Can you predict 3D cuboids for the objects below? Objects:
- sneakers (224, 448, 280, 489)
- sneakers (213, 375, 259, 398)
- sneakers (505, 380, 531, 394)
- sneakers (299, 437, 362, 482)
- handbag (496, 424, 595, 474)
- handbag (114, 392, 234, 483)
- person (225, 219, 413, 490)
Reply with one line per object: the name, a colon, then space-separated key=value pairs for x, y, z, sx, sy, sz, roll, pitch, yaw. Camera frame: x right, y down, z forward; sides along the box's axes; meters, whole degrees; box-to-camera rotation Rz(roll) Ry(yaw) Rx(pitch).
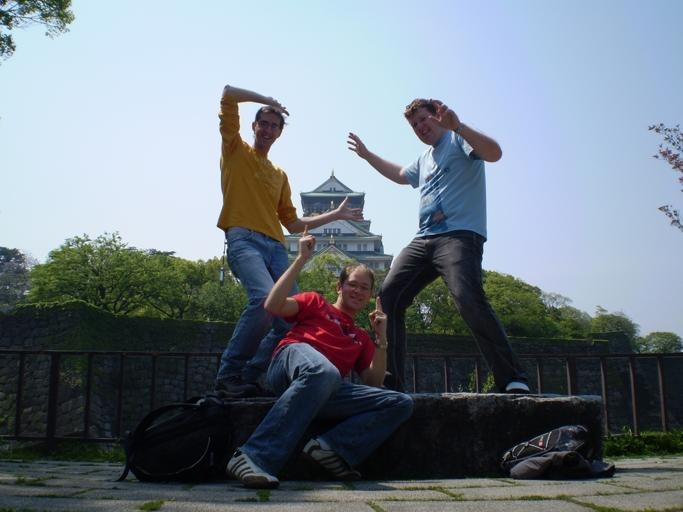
sneakers: x=-0.565 y=1.342 z=3.776 sx=0.384 sy=0.186 sz=0.151 roll=2 pitch=-46 yaw=32
sneakers: x=-0.807 y=0.987 z=4.561 sx=0.329 sy=0.157 sz=0.138 roll=-3 pitch=-7 yaw=9
sneakers: x=1.305 y=1.002 z=4.608 sx=0.196 sy=0.099 sz=0.157 roll=1 pitch=-14 yaw=-3
sneakers: x=-0.076 y=1.360 z=4.027 sx=0.391 sy=0.135 sz=0.168 roll=39 pitch=-1 yaw=-6
handbag: x=1.384 y=1.323 z=4.231 sx=0.457 sy=0.156 sz=0.351 roll=-24 pitch=-13 yaw=-2
handbag: x=-1.154 y=1.311 z=4.280 sx=0.661 sy=0.680 sz=0.522 roll=2 pitch=-35 yaw=-4
person: x=-0.154 y=0.660 z=4.295 sx=1.279 sy=1.763 sz=0.601 roll=6 pitch=-15 yaw=-24
